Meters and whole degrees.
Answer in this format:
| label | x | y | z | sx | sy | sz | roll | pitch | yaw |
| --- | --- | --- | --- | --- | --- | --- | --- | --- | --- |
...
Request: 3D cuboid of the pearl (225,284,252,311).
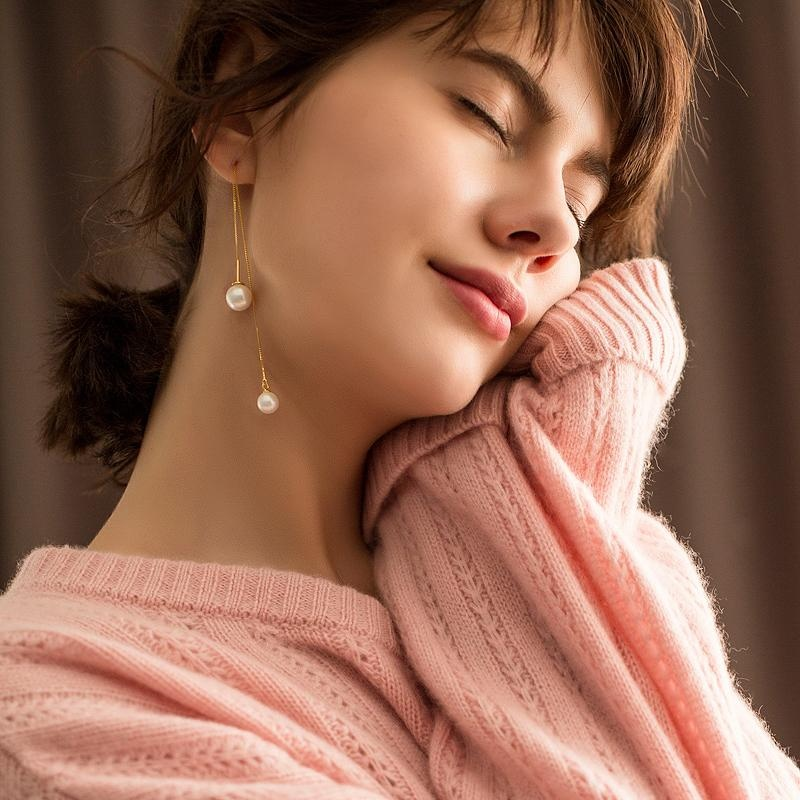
| label | x | y | z | sx | sy | sz | roll | pitch | yaw |
| --- | --- | --- | --- | --- | --- | --- | --- | --- | --- |
| pearl | -0.163 | -0.105 | 1.108 | 0.024 | 0.027 | 0.014 | -15 | 4 | -3 |
